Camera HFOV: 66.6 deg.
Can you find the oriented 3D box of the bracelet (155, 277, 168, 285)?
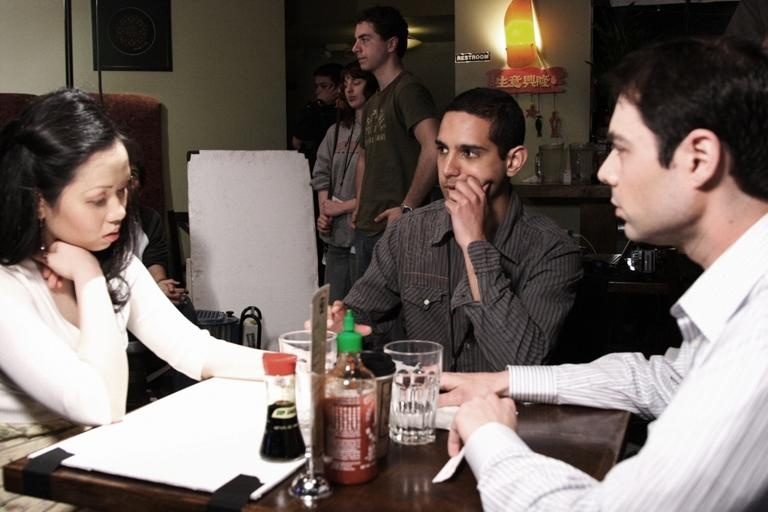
[{"bbox_3d":[-1.284,0.145,3.379,0.037,0.029,0.038,1,2,-1],"label":"bracelet"}]

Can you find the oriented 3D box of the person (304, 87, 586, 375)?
[{"bbox_3d":[0.176,-0.079,2.683,0.985,1.707,0.867,2,4,-44],"label":"person"}]

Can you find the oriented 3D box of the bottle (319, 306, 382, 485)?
[{"bbox_3d":[-0.069,0.319,1.151,0.102,0.252,0.070,-1,11,-5],"label":"bottle"}]
